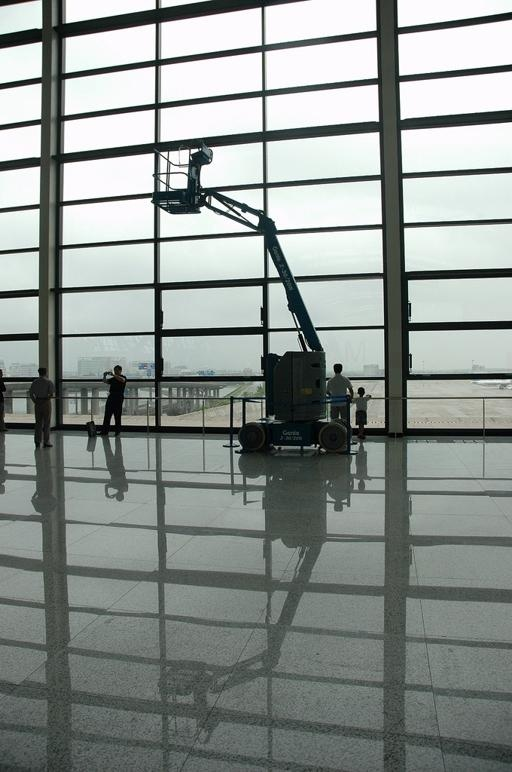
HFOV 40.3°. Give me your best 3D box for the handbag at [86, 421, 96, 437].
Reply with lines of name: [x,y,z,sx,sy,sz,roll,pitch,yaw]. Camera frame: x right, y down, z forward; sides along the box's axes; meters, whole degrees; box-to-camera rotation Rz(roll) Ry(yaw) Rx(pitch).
handbag: [-3.301,0.875,13.969,0.122,0.227,0.249,-4,11,4]

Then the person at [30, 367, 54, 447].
person: [-3.780,0.382,12.285,0.350,1.376,0.823,-1,2,-18]

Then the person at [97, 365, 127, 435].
person: [-2.879,0.310,14.020,0.490,1.407,1.114,-1,2,-12]

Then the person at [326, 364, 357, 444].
person: [1.435,0.271,11.873,0.428,1.347,0.378,-1,12,4]
